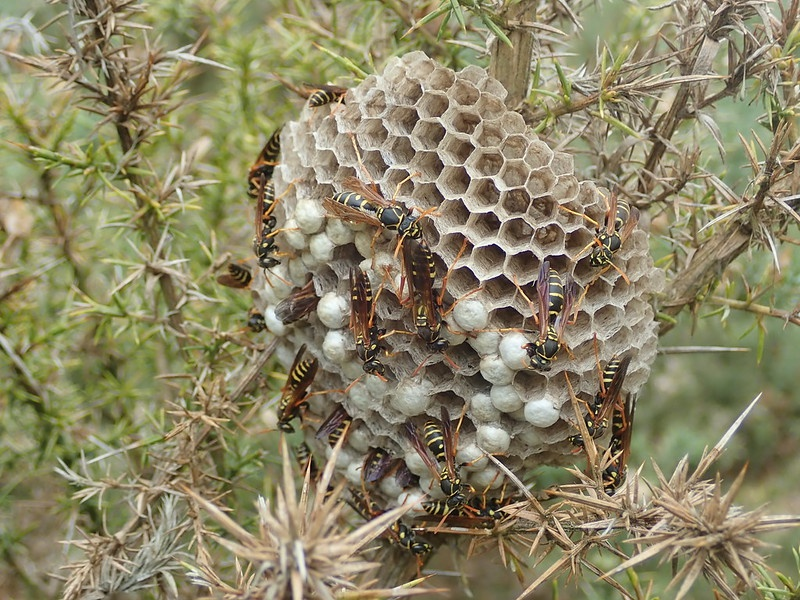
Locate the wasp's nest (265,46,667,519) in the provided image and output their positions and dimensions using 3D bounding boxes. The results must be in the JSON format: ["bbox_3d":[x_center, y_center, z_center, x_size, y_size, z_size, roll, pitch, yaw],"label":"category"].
[{"bbox_3d":[0.302,-0.091,4.192,1.621,0.961,1.696,-3,97,13],"label":"wasp's nest"}]
